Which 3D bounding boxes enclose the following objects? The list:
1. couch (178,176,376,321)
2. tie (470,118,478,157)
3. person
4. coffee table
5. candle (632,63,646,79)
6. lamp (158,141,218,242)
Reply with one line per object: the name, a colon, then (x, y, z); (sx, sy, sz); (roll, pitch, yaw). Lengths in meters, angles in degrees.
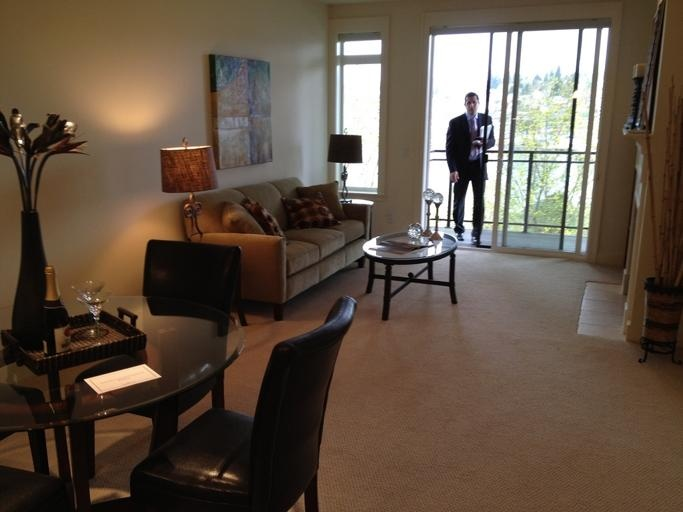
couch: (-0.502, -0.193, 5.430); (0.913, 1.125, 2.118); (2, 13, 23)
tie: (1.705, -1.512, 6.785); (0.119, 0.528, 0.030); (-5, 13, -13)
person: (1.687, -1.142, 6.973); (0.604, 1.952, 0.429); (1, 13, 12)
coffee table: (0.661, 0.159, 5.019); (0.871, 0.613, 1.146); (6, 17, 28)
candle: (2.493, -1.552, 4.420); (0.084, 0.111, 0.164); (5, 15, 28)
lamp: (-1.215, -0.501, 4.259); (0.411, 0.917, 0.435); (8, 22, 20)
